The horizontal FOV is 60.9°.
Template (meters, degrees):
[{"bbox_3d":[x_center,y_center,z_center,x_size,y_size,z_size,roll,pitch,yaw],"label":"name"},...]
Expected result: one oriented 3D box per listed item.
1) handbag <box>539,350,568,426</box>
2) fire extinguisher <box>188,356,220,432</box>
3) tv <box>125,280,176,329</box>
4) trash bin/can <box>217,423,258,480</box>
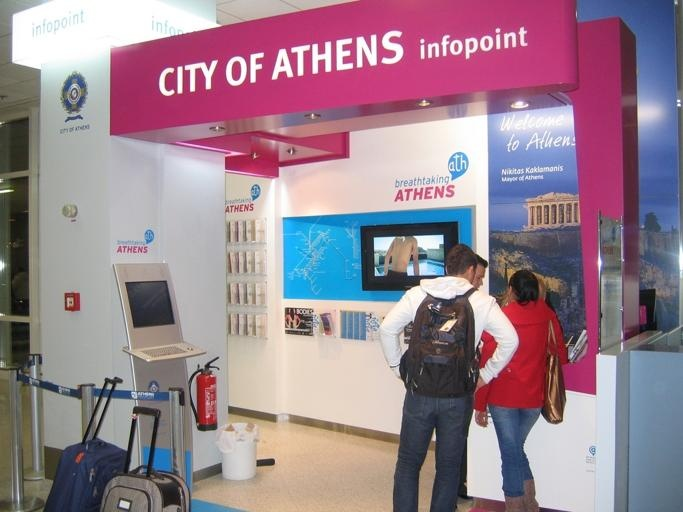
[{"bbox_3d":[1.542,0.957,4.222,0.151,0.426,0.113,1,0,1],"label":"handbag"},{"bbox_3d":[-1.240,1.262,5.220,0.256,0.746,0.442,1,1,-11],"label":"fire extinguisher"},{"bbox_3d":[-1.580,0.399,4.751,0.380,0.414,0.040,-1,-20,-42],"label":"tv"},{"bbox_3d":[-0.980,1.828,5.633,0.441,0.500,0.434,1,-3,-36],"label":"trash bin/can"}]
